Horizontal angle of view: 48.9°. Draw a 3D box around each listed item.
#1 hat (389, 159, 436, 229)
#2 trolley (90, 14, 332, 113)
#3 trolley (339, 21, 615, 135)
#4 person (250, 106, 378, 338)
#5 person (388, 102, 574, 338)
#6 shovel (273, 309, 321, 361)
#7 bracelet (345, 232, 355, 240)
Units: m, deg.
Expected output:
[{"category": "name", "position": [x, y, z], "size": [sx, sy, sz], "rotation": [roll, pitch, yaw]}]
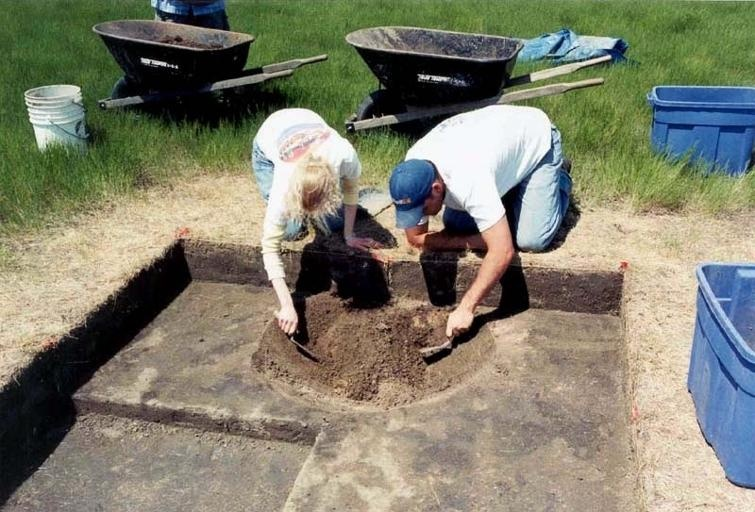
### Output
[{"category": "hat", "position": [0.293, -0.467, 6.307], "size": [0.303, 0.504, 0.280], "rotation": [6, -14, 36]}, {"category": "trolley", "position": [-1.773, -1.999, 8.732], "size": [2.142, 0.888, 1.188], "rotation": [2, 34, 4]}, {"category": "trolley", "position": [0.949, -1.757, 8.302], "size": [2.721, 1.410, 1.175], "rotation": [2, 47, 19]}, {"category": "person", "position": [-0.605, -0.512, 6.660], "size": [1.024, 1.910, 1.515], "rotation": [-11, -11, -9]}, {"category": "person", "position": [0.836, -0.309, 6.806], "size": [1.015, 1.535, 1.617], "rotation": [20, 38, 29]}, {"category": "shovel", "position": [-0.643, 0.657, 6.658], "size": [0.065, 0.068, 0.453], "rotation": [-29, 74, -27]}, {"category": "bracelet", "position": [-0.230, -0.168, 7.073], "size": [0.049, 0.033, 0.074], "rotation": [12, 34, 11]}]
